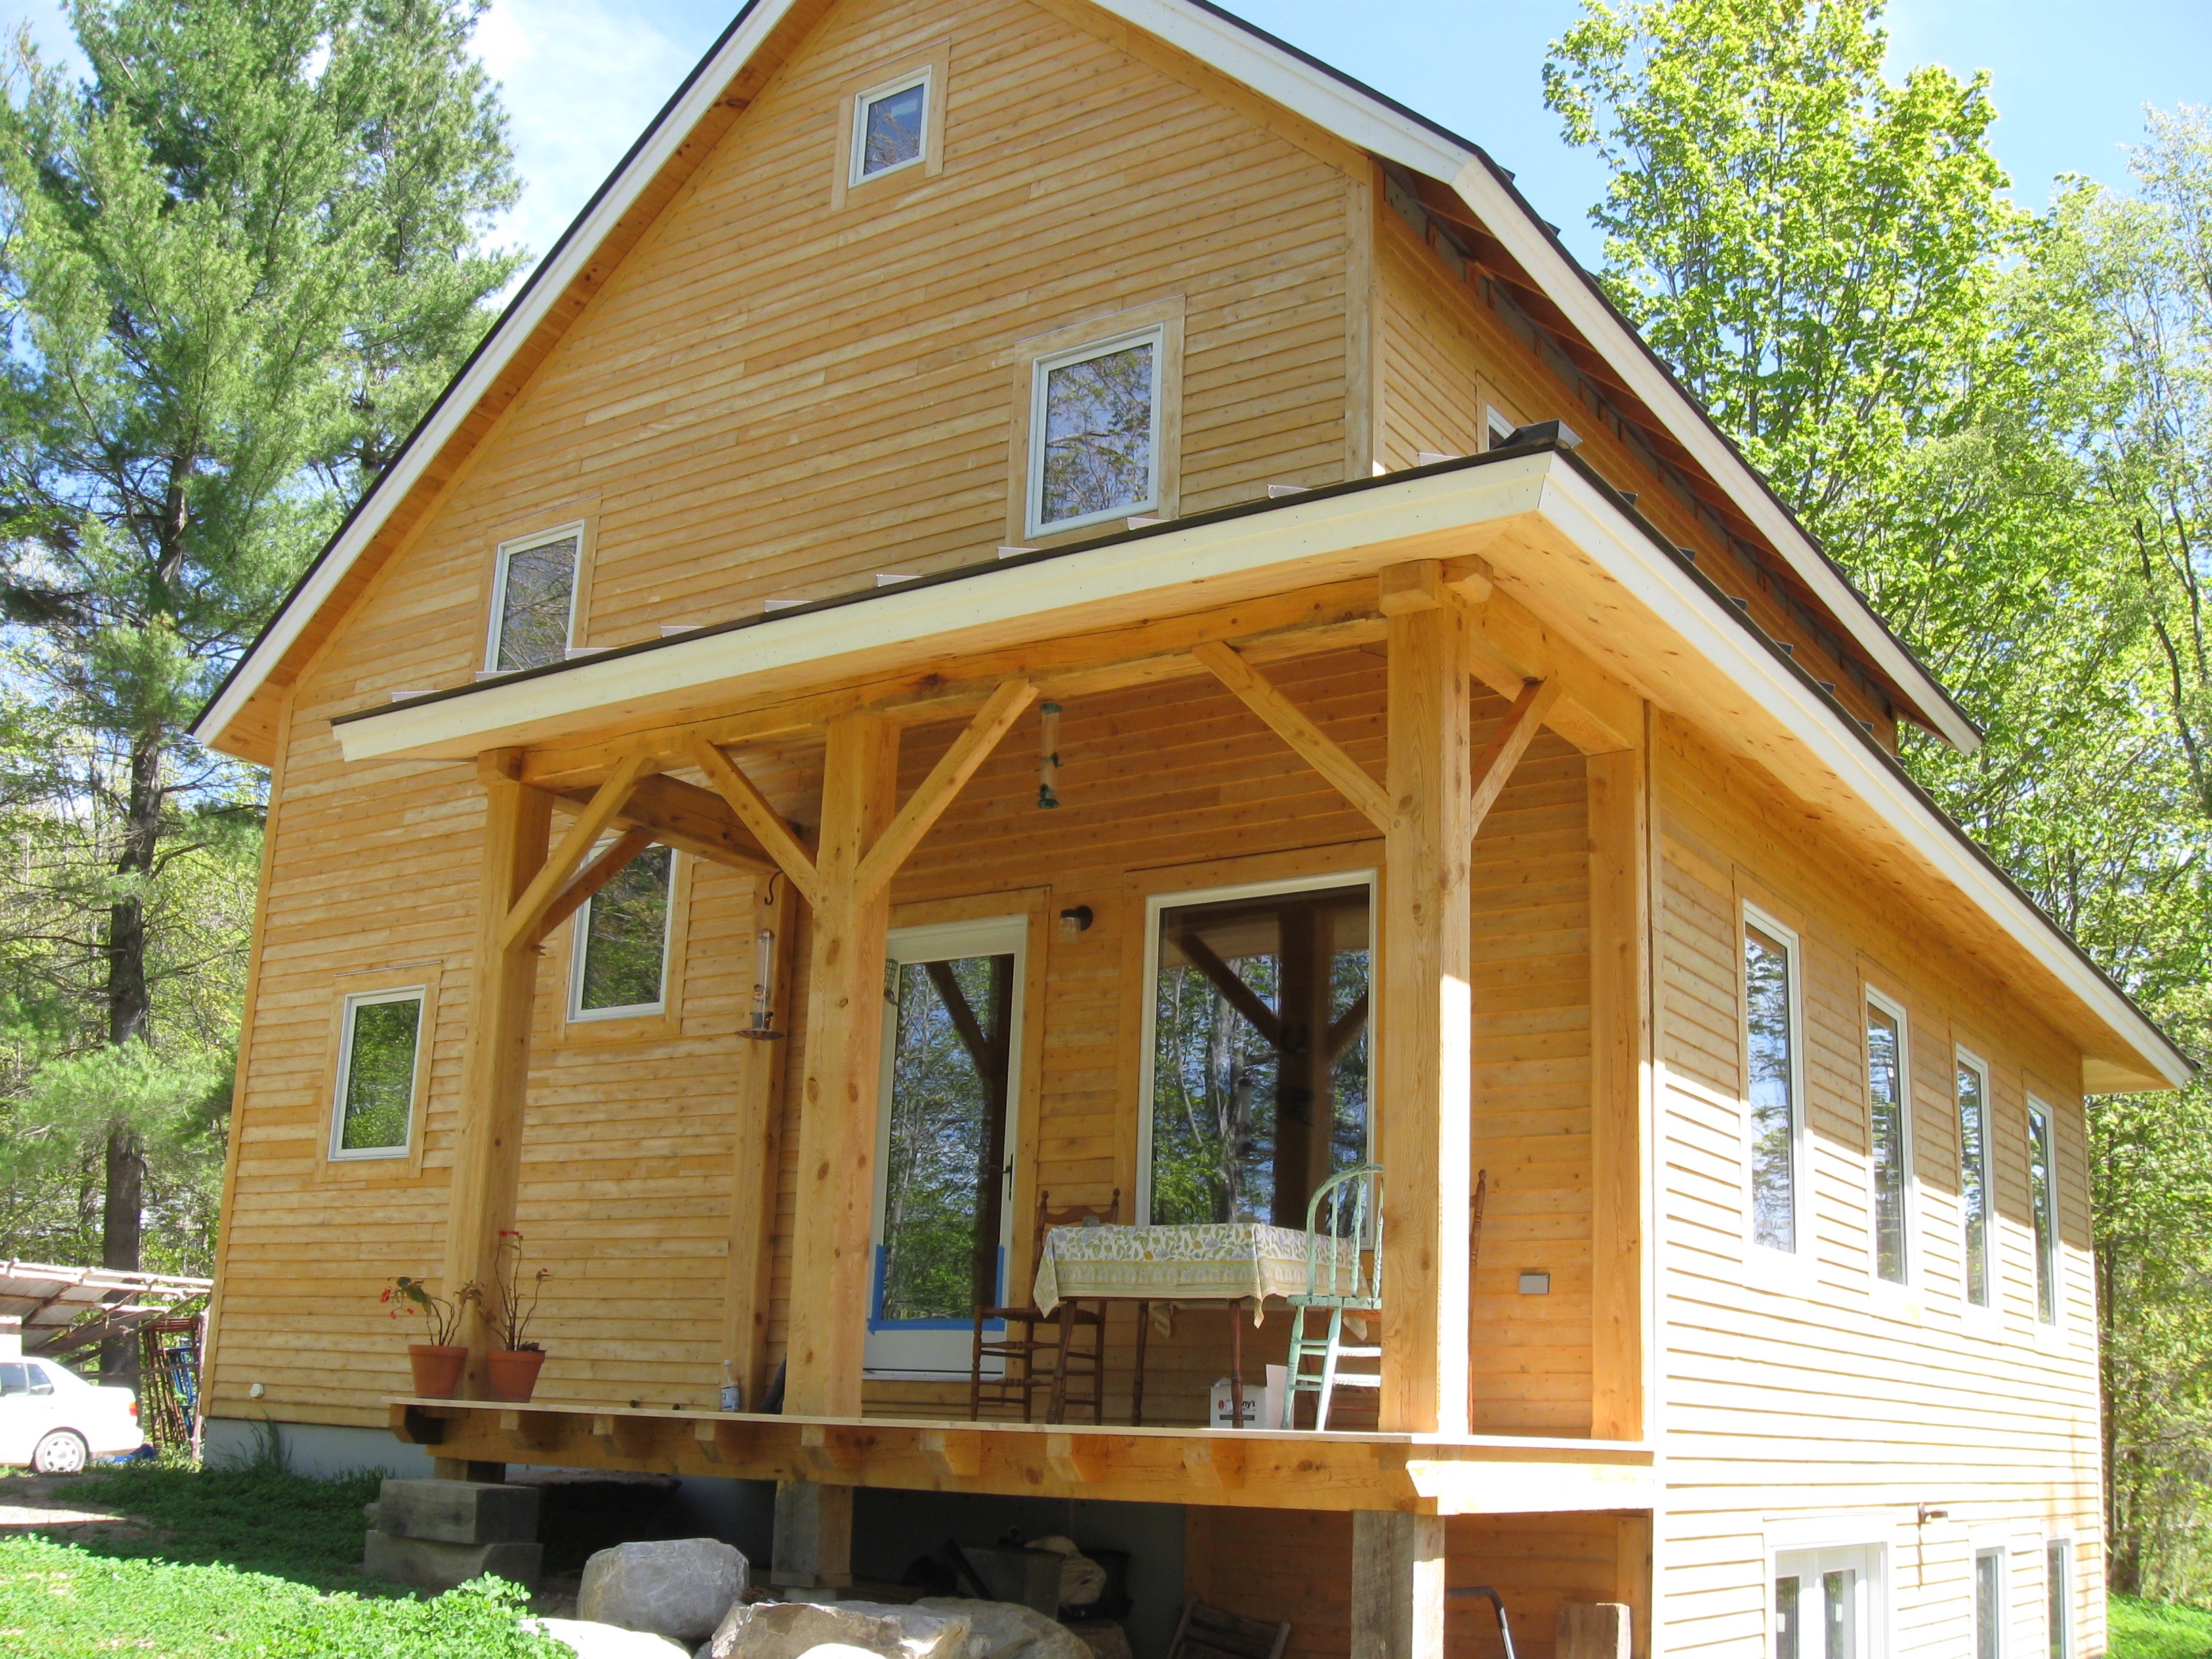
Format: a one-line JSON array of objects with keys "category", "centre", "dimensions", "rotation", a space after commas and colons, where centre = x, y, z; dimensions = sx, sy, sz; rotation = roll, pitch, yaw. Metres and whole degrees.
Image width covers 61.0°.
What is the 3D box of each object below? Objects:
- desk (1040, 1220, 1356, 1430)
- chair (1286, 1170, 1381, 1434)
[{"category": "desk", "centre": [0.638, 2.381, 9.008], "dimensions": [1.242, 0.416, 1.197], "rotation": [-10, -41, 24]}, {"category": "chair", "centre": [1.178, 2.061, 9.184], "dimensions": [0.411, 0.754, 0.374], "rotation": [6, -18, -23]}]
